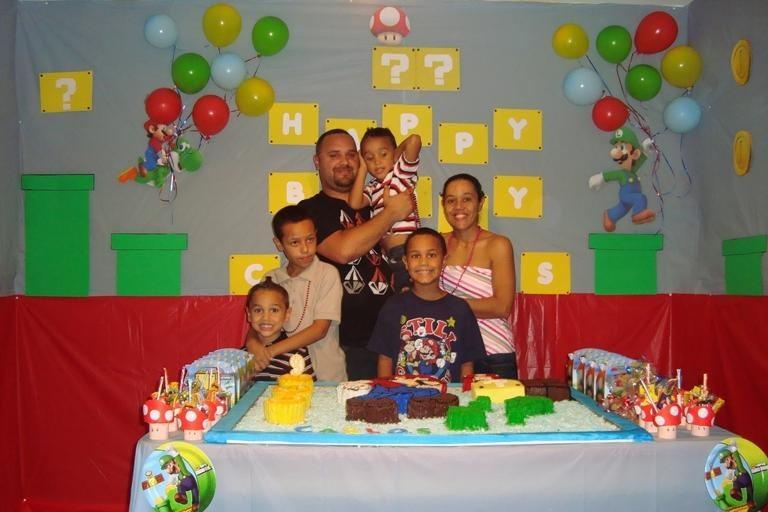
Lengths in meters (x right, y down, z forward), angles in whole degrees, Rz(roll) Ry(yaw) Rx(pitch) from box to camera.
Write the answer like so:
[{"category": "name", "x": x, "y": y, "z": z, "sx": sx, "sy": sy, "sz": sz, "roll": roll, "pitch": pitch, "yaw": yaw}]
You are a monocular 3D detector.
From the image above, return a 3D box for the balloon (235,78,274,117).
[{"category": "balloon", "x": -0.844, "y": -1.050, "z": 5.624, "sx": 0.258, "sy": 0.233, "sz": 0.137, "roll": 3, "pitch": -4, "yaw": -11}]

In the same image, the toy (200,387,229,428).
[{"category": "toy", "x": -0.832, "y": 0.746, "z": 4.221, "sx": 0.103, "sy": 0.145, "sz": 0.155, "roll": 1, "pitch": -8, "yaw": -6}]

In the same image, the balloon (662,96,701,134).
[{"category": "balloon", "x": 1.988, "y": -0.921, "z": 5.694, "sx": 0.215, "sy": 0.237, "sz": 0.259, "roll": 0, "pitch": -1, "yaw": -17}]

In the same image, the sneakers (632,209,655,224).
[{"category": "sneakers", "x": 1.772, "y": -0.261, "z": 5.779, "sx": 0.131, "sy": 0.084, "sz": 0.085, "roll": -9, "pitch": 2, "yaw": 7}]

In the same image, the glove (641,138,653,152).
[{"category": "glove", "x": 1.795, "y": -0.752, "z": 5.765, "sx": 0.061, "sy": 0.093, "sz": 0.089, "roll": 4, "pitch": -3, "yaw": 17}]

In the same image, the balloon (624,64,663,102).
[{"category": "balloon", "x": 1.766, "y": -1.170, "z": 5.767, "sx": 0.219, "sy": 0.292, "sz": 0.231, "roll": 3, "pitch": 0, "yaw": 3}]

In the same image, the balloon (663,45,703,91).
[{"category": "balloon", "x": 1.977, "y": -1.257, "z": 5.640, "sx": 0.235, "sy": 0.319, "sz": 0.252, "roll": 9, "pitch": 19, "yaw": 24}]

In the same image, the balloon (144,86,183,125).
[{"category": "balloon", "x": -1.438, "y": -0.983, "z": 5.589, "sx": 0.214, "sy": 0.236, "sz": 0.264, "roll": 13, "pitch": -27, "yaw": -4}]

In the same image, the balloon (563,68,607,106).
[{"category": "balloon", "x": 1.343, "y": -1.134, "z": 5.695, "sx": 0.218, "sy": 0.253, "sz": 0.130, "roll": 3, "pitch": 7, "yaw": 2}]

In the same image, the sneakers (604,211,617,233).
[{"category": "sneakers", "x": 1.537, "y": -0.228, "z": 5.775, "sx": 0.071, "sy": 0.133, "sz": 0.041, "roll": -6, "pitch": 8, "yaw": -1}]

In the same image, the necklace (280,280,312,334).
[{"category": "necklace", "x": -0.553, "y": 0.315, "z": 5.417, "sx": 0.155, "sy": 0.275, "sz": 0.036, "roll": -2, "pitch": -19, "yaw": 21}]

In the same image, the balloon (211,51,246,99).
[{"category": "balloon", "x": -1.017, "y": -1.189, "z": 5.603, "sx": 0.206, "sy": 0.231, "sz": 0.244, "roll": -2, "pitch": -8, "yaw": -23}]

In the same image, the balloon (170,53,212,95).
[{"category": "balloon", "x": -1.262, "y": -1.171, "z": 5.669, "sx": 0.234, "sy": 0.260, "sz": 0.284, "roll": 14, "pitch": -24, "yaw": -12}]

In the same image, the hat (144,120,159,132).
[{"category": "hat", "x": -1.541, "y": -0.863, "z": 5.662, "sx": 0.082, "sy": 0.089, "sz": 0.071, "roll": -16, "pitch": 18, "yaw": -13}]

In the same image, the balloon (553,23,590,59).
[{"category": "balloon", "x": 1.276, "y": -1.462, "z": 5.816, "sx": 0.243, "sy": 0.282, "sz": 0.336, "roll": 4, "pitch": 0, "yaw": 2}]

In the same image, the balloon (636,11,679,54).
[{"category": "balloon", "x": 1.878, "y": -1.507, "z": 5.801, "sx": 0.273, "sy": 0.315, "sz": 0.374, "roll": 2, "pitch": -5, "yaw": 27}]

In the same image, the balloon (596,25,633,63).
[{"category": "balloon", "x": 1.548, "y": -1.440, "z": 5.716, "sx": 0.212, "sy": 0.289, "sz": 0.228, "roll": 8, "pitch": 17, "yaw": 21}]

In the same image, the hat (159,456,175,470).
[{"category": "hat", "x": -1.029, "y": 0.991, "z": 4.053, "sx": 0.050, "sy": 0.061, "sz": 0.068, "roll": 5, "pitch": 2, "yaw": -22}]

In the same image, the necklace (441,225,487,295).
[{"category": "necklace", "x": 0.549, "y": -0.022, "z": 5.658, "sx": 0.154, "sy": 0.598, "sz": 0.078, "roll": 16, "pitch": -1, "yaw": 8}]
